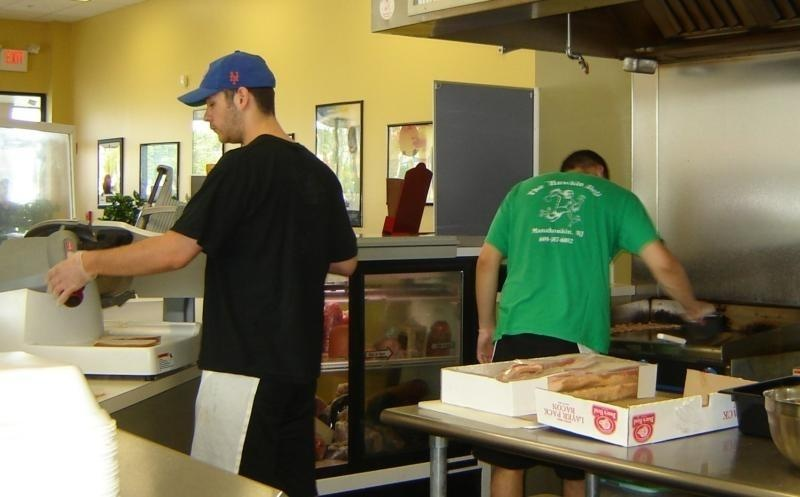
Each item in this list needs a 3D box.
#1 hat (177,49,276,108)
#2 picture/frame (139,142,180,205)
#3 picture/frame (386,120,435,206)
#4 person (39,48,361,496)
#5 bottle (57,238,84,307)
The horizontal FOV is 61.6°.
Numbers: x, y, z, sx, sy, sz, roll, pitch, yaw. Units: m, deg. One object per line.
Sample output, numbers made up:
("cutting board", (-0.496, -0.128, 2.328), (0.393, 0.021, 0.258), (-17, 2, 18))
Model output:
("hat", (-0.662, -0.631, 2.497), (0.364, 0.176, 0.231), (-11, 6, -27))
("picture/frame", (-2.884, -0.971, 8.057), (1.059, 1.123, 0.049), (8, 10, 40))
("picture/frame", (0.096, -1.013, 6.836), (0.159, 0.543, 0.645), (-5, 7, -42))
("person", (-0.598, 0.087, 2.412), (0.858, 1.596, 0.437), (-1, 4, 0))
("bottle", (-1.125, 0.085, 2.306), (0.058, 0.250, 0.101), (-3, 5, -26))
